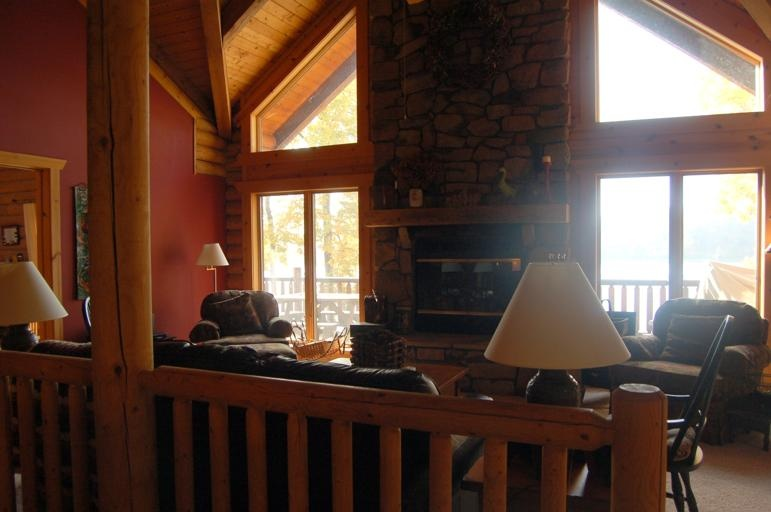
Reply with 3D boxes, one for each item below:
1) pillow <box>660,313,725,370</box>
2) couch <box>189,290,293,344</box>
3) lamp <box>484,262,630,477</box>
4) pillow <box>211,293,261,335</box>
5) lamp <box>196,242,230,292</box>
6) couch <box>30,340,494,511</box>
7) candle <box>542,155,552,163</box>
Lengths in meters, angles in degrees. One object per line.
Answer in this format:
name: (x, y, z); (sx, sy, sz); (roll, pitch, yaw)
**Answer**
pillow: (3.077, 0.829, 6.765); (0.170, 0.538, 0.543); (32, -16, -37)
couch: (-1.751, 0.744, 8.075); (0.973, 0.627, 0.689); (2, -9, -23)
lamp: (1.106, 0.536, 4.305); (0.950, 1.302, 0.949); (-3, 5, 6)
pillow: (-1.782, 0.720, 8.059); (0.496, 0.479, 0.148); (-15, -8, -18)
lamp: (-2.330, 0.155, 8.993); (0.373, 0.657, 0.769); (1, 1, -14)
couch: (-0.595, 1.236, 4.678); (2.276, 1.168, 0.467); (1, 1, 11)
candle: (1.775, -1.082, 7.410); (0.098, 0.092, 0.099); (-3, -4, 41)
